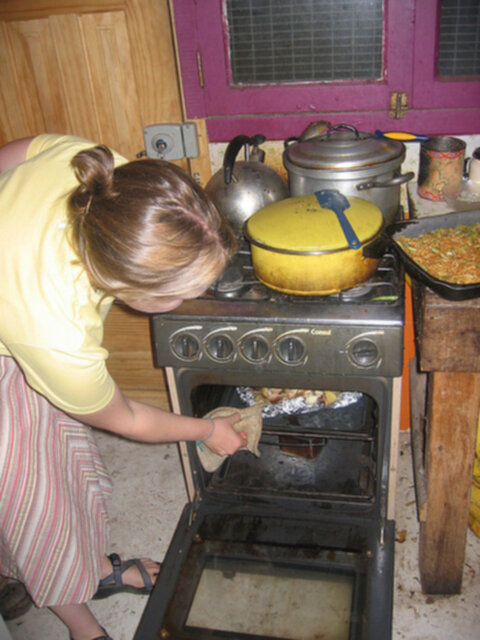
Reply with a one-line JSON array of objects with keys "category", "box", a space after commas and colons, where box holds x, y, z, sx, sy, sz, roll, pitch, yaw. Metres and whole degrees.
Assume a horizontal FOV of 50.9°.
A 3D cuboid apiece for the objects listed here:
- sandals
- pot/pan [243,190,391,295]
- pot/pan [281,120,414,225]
[{"category": "sandals", "box": [-0.326, 0.739, 1.439, 0.327, 0.105, 0.104, -2, 31, 3]}, {"category": "pot/pan", "box": [0.173, -0.217, 1.169, 0.343, 0.209, 0.358, 13, 28, 26]}, {"category": "pot/pan", "box": [0.262, -0.438, 1.453, 0.420, 0.278, 0.398, 8, 29, 14]}]
